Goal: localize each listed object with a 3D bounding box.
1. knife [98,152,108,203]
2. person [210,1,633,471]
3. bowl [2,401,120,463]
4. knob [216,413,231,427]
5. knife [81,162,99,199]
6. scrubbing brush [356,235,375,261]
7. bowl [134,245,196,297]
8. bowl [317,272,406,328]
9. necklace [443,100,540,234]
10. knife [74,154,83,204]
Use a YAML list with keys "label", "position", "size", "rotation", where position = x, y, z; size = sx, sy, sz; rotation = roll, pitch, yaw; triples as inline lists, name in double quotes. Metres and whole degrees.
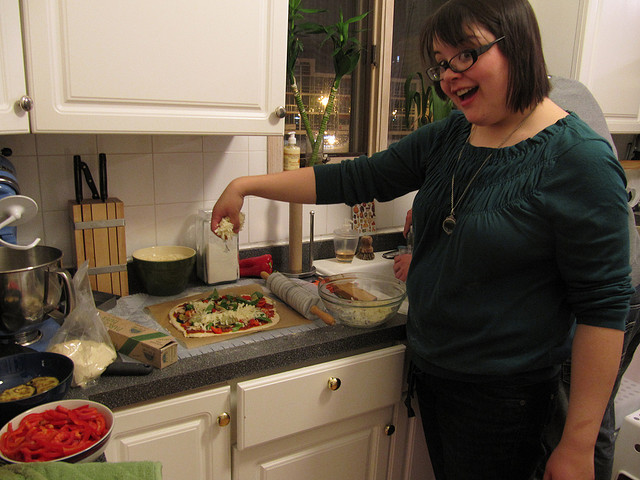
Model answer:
- label: "knife"
  position: [-0.784, -0.225, 1.770]
  size: [0.027, 0.171, 0.027]
  rotation: [-5, 19, -33]
- label: "person"
  position: [0.424, 0.055, 1.480]
  size: [0.874, 1.397, 0.292]
  rotation: [3, 11, 44]
- label: "bowl"
  position: [-0.582, 0.431, 1.077]
  size: [0.204, 0.090, 0.183]
  rotation: [-1, 9, 22]
- label: "knob"
  position: [-0.299, 0.560, 1.514]
  size: [0.042, 0.049, 0.017]
  rotation: [-8, 9, -22]
- label: "knife"
  position: [-0.829, -0.213, 1.772]
  size: [0.038, 0.128, 0.029]
  rotation: [-24, 32, -36]
- label: "scrubbing brush"
  position: [0.221, 0.038, 2.367]
  size: [0.097, 0.101, 0.090]
  rotation: [-5, 9, -42]
- label: "bowl"
  position: [-0.586, 0.111, 1.873]
  size: [0.201, 0.133, 0.201]
  rotation: [0, 12, 0]
- label: "bowl"
  position: [0.147, 0.220, 1.736]
  size: [0.320, 0.108, 0.301]
  rotation: [2, 12, 0]
- label: "necklace"
  position: [0.430, -0.197, 1.385]
  size: [0.151, 0.346, 0.241]
  rotation: [3, 20, -12]
- label: "knife"
  position: [-0.864, -0.215, 1.753]
  size: [0.028, 0.182, 0.023]
  rotation: [-3, 9, -30]
